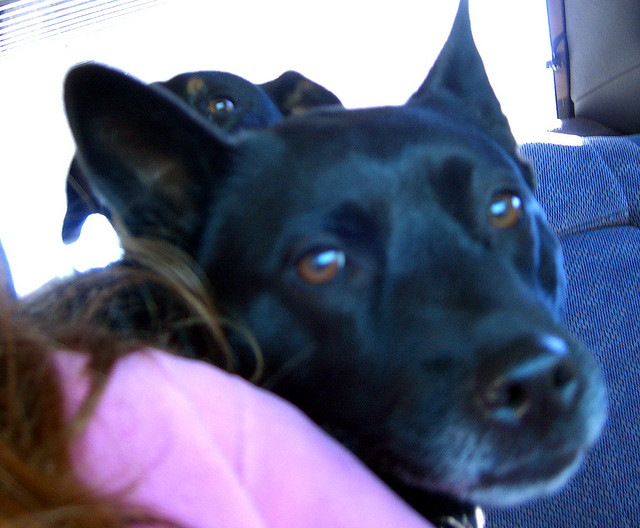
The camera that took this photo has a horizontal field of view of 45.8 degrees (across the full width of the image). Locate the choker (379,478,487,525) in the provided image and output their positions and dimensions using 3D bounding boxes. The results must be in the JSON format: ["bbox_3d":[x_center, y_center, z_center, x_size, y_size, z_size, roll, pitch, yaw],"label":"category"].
[{"bbox_3d":[0.133,0.273,0.850,0.088,0.068,0.037,26,77,-17],"label":"choker"}]

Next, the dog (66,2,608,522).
[{"bbox_3d":[-0.017,0.164,1.047,0.394,0.701,0.550,-24,69,-26],"label":"dog"}]
